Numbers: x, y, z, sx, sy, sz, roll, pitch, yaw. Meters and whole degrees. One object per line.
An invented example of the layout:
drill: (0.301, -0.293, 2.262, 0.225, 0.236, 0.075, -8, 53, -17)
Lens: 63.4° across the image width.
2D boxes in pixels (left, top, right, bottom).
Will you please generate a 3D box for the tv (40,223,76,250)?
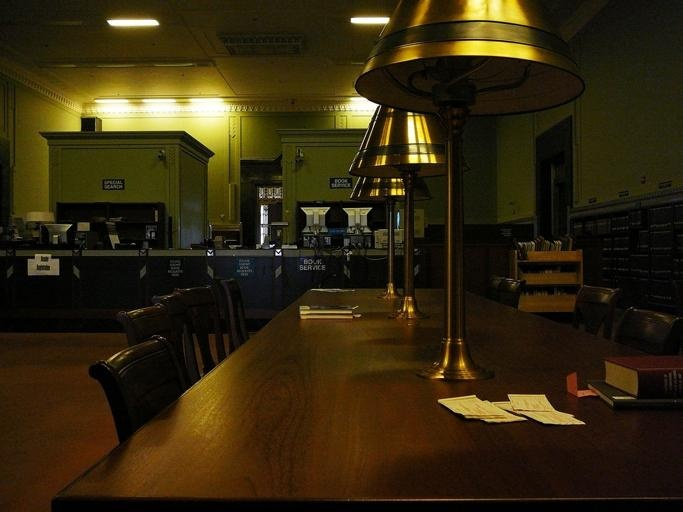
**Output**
tv: (-3.679, -0.265, 7.048, 0.378, 0.249, 0.859, -6, 4, -29)

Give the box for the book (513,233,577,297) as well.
book: (2.538, 0.146, 6.785, 0.698, 0.754, 0.406, -1, -2, 1)
